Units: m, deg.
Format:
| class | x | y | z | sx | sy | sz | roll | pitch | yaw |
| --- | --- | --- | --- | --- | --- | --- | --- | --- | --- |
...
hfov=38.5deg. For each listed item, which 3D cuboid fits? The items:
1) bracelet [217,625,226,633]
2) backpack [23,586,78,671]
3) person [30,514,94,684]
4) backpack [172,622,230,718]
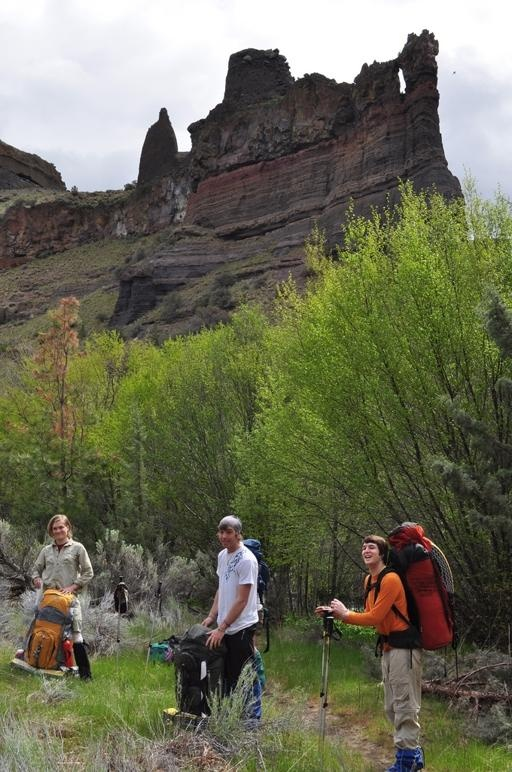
| class | x | y | z | sx | sy | sz | roll | pitch | yaw |
| --- | --- | --- | --- | --- | --- | --- | --- | --- | --- |
| bracelet | -0.235 | 1.770 | 5.324 | 0.046 | 0.023 | 0.060 | 4 | -7 | -5 |
| backpack | -1.809 | 2.159 | 6.459 | 0.350 | 0.684 | 0.235 | 7 | -12 | -24 |
| person | -1.788 | 1.988 | 6.766 | 0.556 | 1.529 | 0.470 | -2 | -4 | 14 |
| backpack | -0.424 | 2.160 | 5.503 | 0.377 | 0.653 | 0.378 | 2 | -11 | -1 |
